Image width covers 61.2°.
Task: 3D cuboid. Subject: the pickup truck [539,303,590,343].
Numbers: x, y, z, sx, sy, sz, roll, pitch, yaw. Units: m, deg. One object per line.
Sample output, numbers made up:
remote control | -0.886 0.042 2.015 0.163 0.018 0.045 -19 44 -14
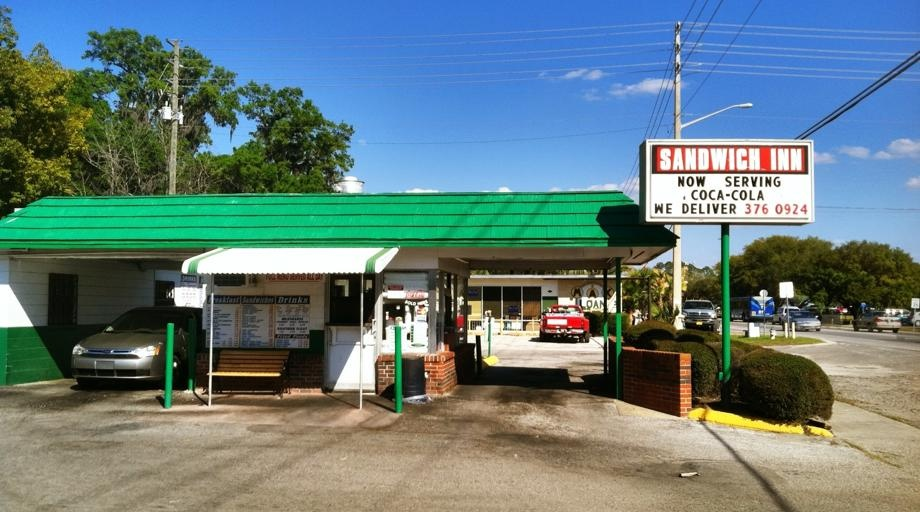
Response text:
pickup truck | 6.529 4.025 48.050 3.210 2.014 5.007 0 0 4

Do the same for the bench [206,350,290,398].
bench | -7.282 4.017 26.888 2.697 1.598 1.182 0 -6 1

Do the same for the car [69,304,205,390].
car | -11.413 3.169 27.627 4.214 2.801 2.042 3 -7 -22
